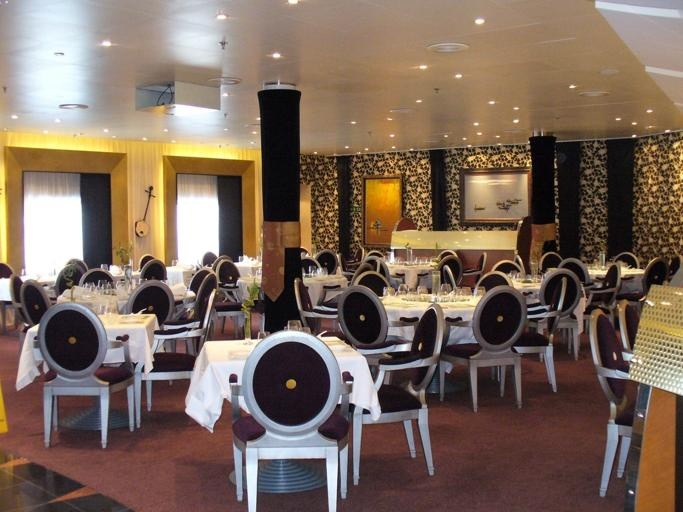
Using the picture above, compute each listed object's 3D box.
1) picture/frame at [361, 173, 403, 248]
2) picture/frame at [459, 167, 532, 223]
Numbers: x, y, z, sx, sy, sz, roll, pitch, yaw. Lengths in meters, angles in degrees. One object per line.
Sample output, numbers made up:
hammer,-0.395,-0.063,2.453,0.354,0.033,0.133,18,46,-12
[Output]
picture/frame,1.354,-1.423,18.270,1.257,2.361,0.111,0,-17,5
picture/frame,4.666,-1.809,16.642,1.792,1.569,0.157,0,5,19
